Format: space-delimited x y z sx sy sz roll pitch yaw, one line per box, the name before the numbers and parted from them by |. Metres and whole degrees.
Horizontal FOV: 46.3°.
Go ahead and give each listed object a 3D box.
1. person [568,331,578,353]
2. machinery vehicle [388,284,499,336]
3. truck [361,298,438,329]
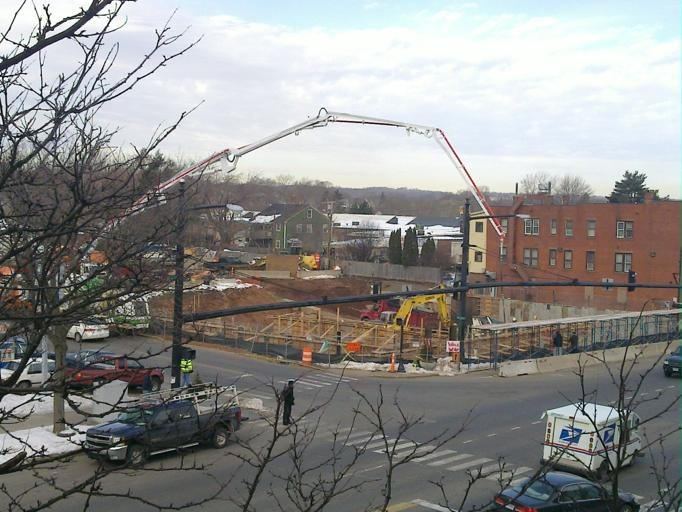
person | 12.725 4.774 43.937 0.444 0.973 1.386 3 -3 16
machinery vehicle | 5.294 3.058 46.866 6.534 2.305 1.078 2 4 -28
truck | 4.387 4.755 59.638 2.281 1.939 5.668 4 3 -35
